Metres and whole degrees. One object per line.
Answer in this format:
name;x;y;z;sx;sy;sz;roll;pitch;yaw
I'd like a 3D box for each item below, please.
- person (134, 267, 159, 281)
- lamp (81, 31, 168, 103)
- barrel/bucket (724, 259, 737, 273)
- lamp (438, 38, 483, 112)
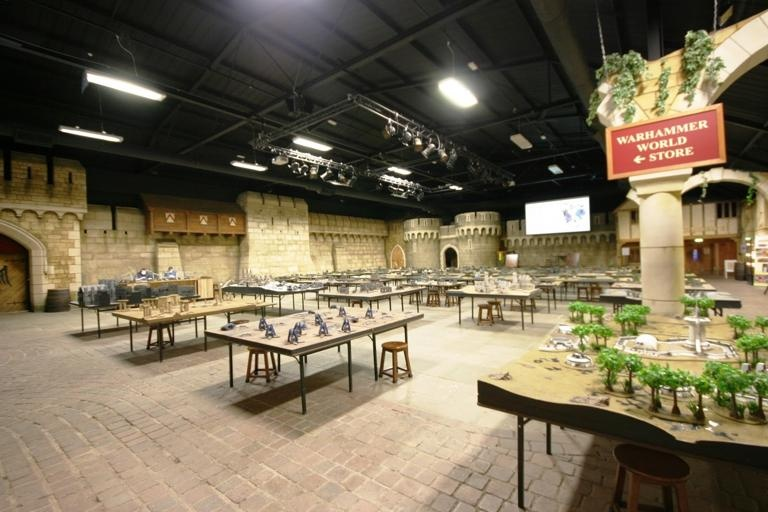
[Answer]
person;-10.186;0.790;19.222;1.088;0.369;0.663;-11;-9;40
lamp;-7.359;-5.418;12.813;0.388;0.390;2.164;6;5;29
barrel/bucket;19.392;0.557;25.267;1.030;0.717;0.507;-4;5;-33
lamp;2.290;-5.190;14.245;1.292;1.633;3.980;-3;-1;12
